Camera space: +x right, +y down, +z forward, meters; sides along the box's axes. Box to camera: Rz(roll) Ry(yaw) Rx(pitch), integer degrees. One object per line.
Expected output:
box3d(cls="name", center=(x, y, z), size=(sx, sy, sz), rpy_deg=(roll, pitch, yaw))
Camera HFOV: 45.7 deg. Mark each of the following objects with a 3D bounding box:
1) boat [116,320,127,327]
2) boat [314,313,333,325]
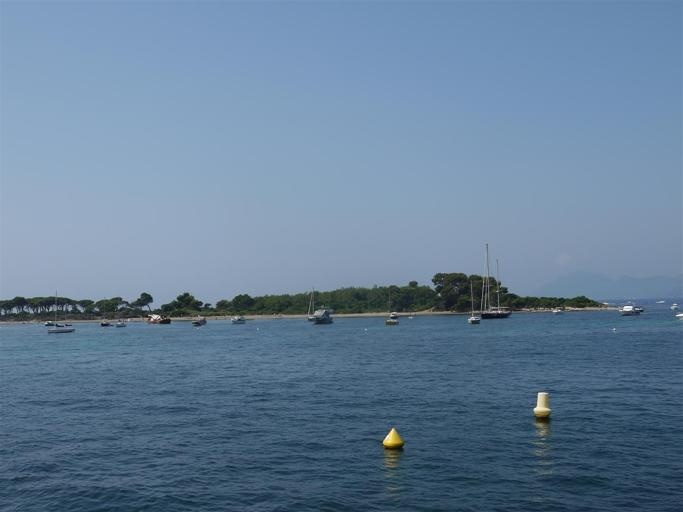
box3d(cls="boat", center=(-79.224, 24.237, 293.777), size=(3.748, 2.116, 4.612), rpy_deg=(0, -6, -8))
box3d(cls="boat", center=(-5.093, 17.785, 227.298), size=(2.817, 2.366, 8.476), rpy_deg=(-1, -1, 21))
